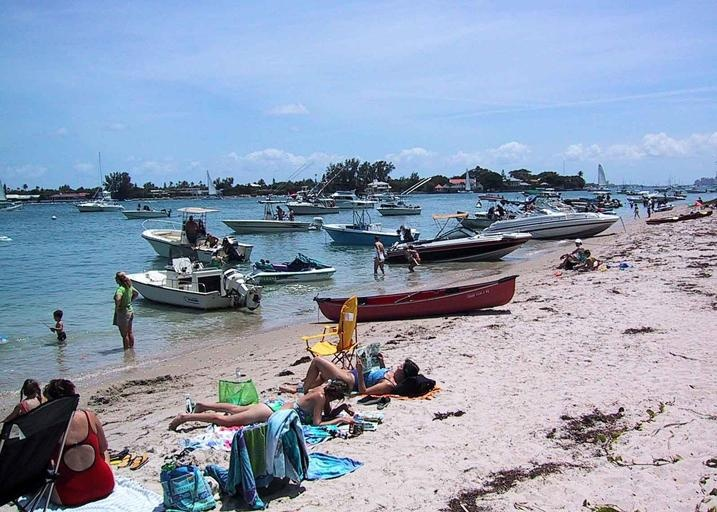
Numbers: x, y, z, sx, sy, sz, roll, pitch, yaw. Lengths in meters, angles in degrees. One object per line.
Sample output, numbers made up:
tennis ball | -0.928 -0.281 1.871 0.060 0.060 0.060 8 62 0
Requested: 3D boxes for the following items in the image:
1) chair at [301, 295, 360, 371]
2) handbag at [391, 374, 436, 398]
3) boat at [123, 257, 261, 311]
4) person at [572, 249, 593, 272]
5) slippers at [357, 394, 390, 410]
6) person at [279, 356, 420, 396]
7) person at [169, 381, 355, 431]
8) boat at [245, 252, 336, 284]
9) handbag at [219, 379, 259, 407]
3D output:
chair | -0.515 1.643 10.801 0.968 1.281 0.894 -10 -3 15
handbag | 0.954 2.186 9.654 0.549 0.163 0.371 -7 2 -12
boat | -5.744 0.938 19.459 5.477 1.601 1.729 3 7 29
person | 8.277 0.127 21.042 0.699 0.594 1.313 -2 12 20
slippers | 0.272 2.408 9.473 0.646 0.193 0.177 3 -4 9
person | -0.157 2.075 9.681 2.045 0.717 0.898 3 -9 9
person | -1.566 2.408 8.571 3.232 0.717 0.967 0 1 3
boat | -2.602 0.557 22.463 3.032 0.908 1.327 -2 5 -15
handbag | -1.876 2.211 9.355 0.498 0.297 0.484 0 -4 27
